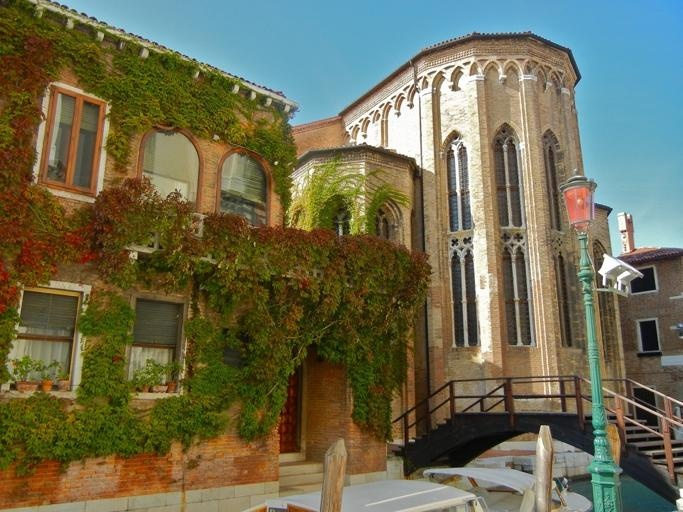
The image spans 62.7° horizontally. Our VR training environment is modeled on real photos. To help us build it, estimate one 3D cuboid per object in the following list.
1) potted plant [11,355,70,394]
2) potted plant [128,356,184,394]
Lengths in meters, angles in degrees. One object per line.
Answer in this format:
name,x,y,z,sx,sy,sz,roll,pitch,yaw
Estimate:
potted plant,-6.980,2.711,12.858,1.051,0.687,0.820,9,-9,-41
potted plant,-4.712,3.071,14.196,1.085,0.691,0.868,10,-16,-29
